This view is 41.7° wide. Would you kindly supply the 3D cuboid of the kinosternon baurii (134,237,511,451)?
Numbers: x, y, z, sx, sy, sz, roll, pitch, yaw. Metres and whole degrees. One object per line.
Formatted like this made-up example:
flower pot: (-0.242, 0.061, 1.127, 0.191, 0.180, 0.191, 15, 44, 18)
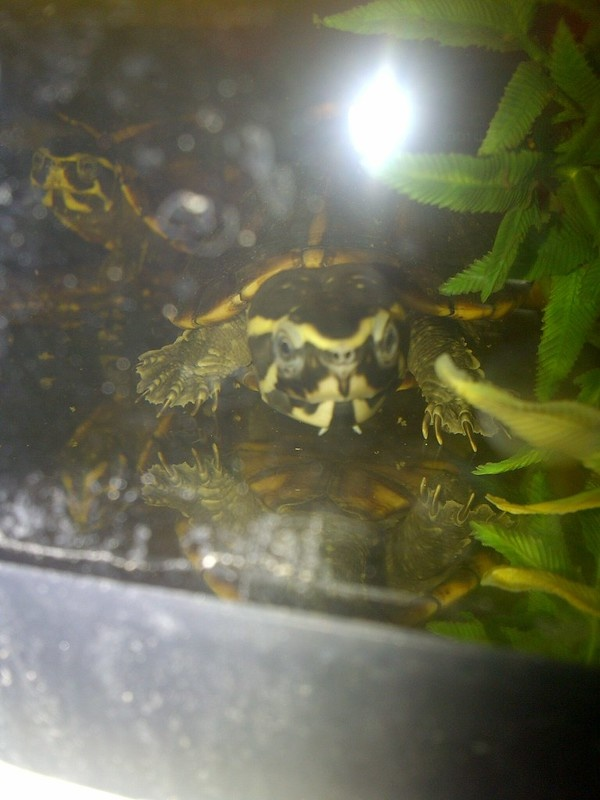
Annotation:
kinosternon baurii: (0.048, -0.135, 1.799, 0.544, 0.618, 0.197, 6, -66, -4)
